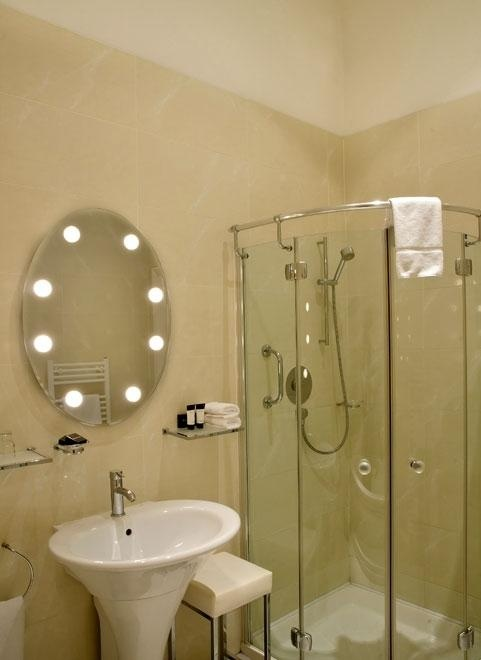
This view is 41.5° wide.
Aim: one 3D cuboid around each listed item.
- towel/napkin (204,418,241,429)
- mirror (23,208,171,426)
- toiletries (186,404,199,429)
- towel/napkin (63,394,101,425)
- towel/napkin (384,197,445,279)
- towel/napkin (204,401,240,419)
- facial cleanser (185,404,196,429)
[{"bbox_3d":[-0.073,0.369,2.537,0.142,0.028,0.109,-5,1,-5],"label":"towel/napkin"},{"bbox_3d":[-0.526,-0.051,2.228,0.032,1.130,0.611,1,2,39],"label":"mirror"},{"bbox_3d":[-0.190,0.333,2.499,0.035,0.143,0.060,-7,-9,41],"label":"toiletries"},{"bbox_3d":[-0.545,0.271,2.205,0.023,0.116,0.090,0,5,41],"label":"towel/napkin"},{"bbox_3d":[0.612,-0.327,2.246,0.196,0.438,0.051,-1,-5,-18],"label":"towel/napkin"},{"bbox_3d":[-0.083,0.314,2.588,0.129,0.040,0.107,-4,2,37],"label":"towel/napkin"},{"bbox_3d":[-0.193,0.332,2.496,0.045,0.069,0.043,-4,2,-23],"label":"facial cleanser"}]
